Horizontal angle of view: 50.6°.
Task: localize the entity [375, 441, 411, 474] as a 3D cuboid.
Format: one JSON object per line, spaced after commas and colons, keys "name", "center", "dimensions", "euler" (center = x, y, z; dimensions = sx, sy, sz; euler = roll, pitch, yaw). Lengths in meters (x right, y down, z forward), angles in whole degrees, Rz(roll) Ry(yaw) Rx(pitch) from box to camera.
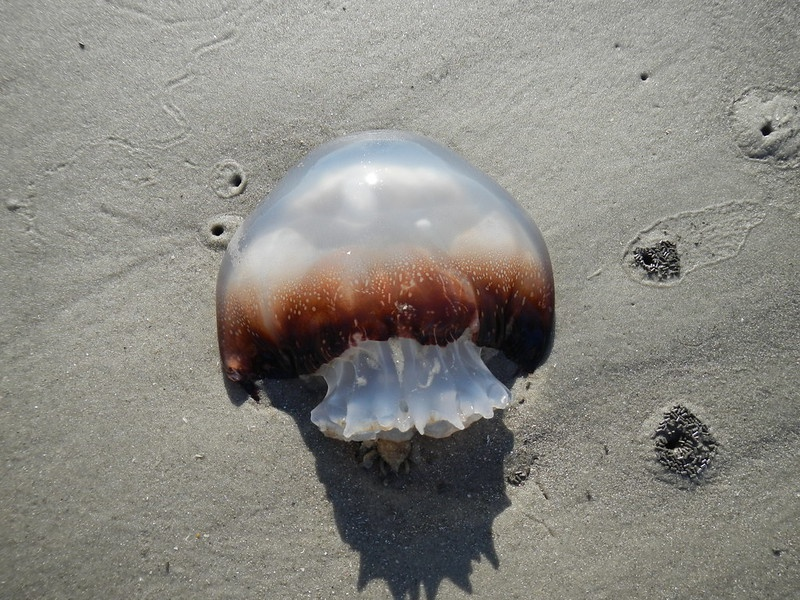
{"name": "entity", "center": [-0.043, 1.037, 5.591], "dimensions": [0.233, 0.126, 0.185], "euler": [1, 72, 2]}
